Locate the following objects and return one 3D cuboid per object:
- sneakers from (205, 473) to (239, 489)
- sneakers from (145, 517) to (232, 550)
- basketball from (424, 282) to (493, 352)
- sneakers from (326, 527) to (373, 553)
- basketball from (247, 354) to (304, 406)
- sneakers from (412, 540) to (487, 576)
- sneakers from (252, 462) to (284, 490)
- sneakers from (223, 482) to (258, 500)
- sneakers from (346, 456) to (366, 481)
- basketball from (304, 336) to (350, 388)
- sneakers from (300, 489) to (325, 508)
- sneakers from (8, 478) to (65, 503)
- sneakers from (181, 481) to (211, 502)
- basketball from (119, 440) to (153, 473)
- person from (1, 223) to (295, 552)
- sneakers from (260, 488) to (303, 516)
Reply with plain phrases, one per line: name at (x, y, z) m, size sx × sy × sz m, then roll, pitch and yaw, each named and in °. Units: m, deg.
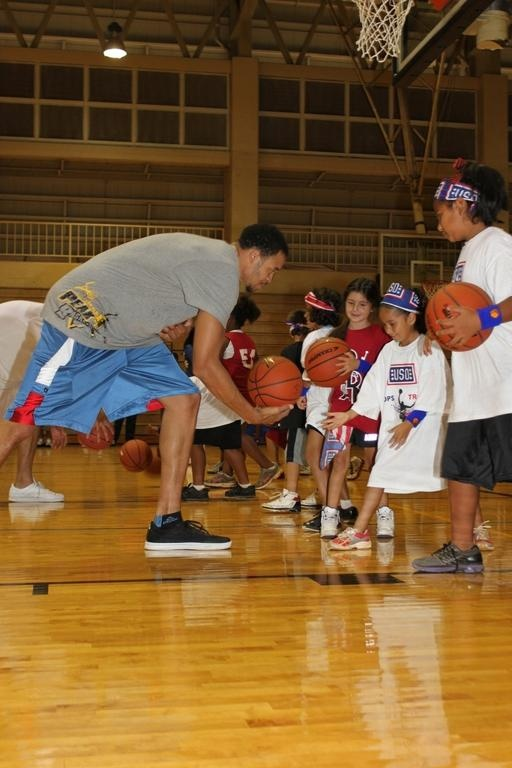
sneakers at (-0.257, 0.734, 4.858) m, size 0.235 × 0.100 × 0.092 m, roll 1°, pitch 2°, yaw -11°
sneakers at (-0.264, 0.560, 2.448) m, size 0.372 × 0.142 × 0.116 m, roll 2°, pitch -4°, yaw -15°
basketball at (0.644, -0.222, 2.089) m, size 0.197 × 0.236 × 0.255 m, roll 1°, pitch -4°, yaw 9°
sneakers at (0.374, 0.620, 2.554) m, size 0.192 × 0.081 × 0.066 m, roll 2°, pitch -6°, yaw -20°
basketball at (0.060, -0.002, 2.762) m, size 0.230 × 0.246 × 0.217 m, roll 13°, pitch 0°, yaw -5°
sneakers at (0.647, 0.596, 2.223) m, size 0.254 × 0.103 × 0.094 m, roll 1°, pitch -3°, yaw -2°
sneakers at (0.082, 0.690, 4.724) m, size 0.123 × 0.094 × 0.262 m, roll 33°, pitch -56°, yaw -29°
sneakers at (-0.101, 0.702, 4.235) m, size 0.211 × 0.080 × 0.081 m, roll 0°, pitch 1°, yaw 9°
sneakers at (0.843, 0.697, 5.440) m, size 0.137 × 0.154 × 0.387 m, roll -1°, pitch 1°, yaw 11°
basketball at (0.295, -0.091, 2.992) m, size 0.227 × 0.242 × 0.215 m, roll 11°, pitch 1°, yaw -15°
sneakers at (0.332, 0.704, 3.926) m, size 0.136 × 0.077 × 0.054 m, roll 1°, pitch 1°, yaw -10°
sneakers at (-1.257, 0.612, 3.724) m, size 0.350 × 0.130 × 0.121 m, roll 1°, pitch -2°, yaw -13°
sneakers at (-0.378, 0.686, 4.031) m, size 0.197 × 0.073 × 0.080 m, roll 2°, pitch -2°, yaw -14°
basketball at (-0.812, 0.471, 4.404) m, size 0.229 × 0.215 × 0.220 m, roll 4°, pitch 24°, yaw -14°
person at (-0.461, 0.043, 2.328) m, size 0.919 × 1.124 × 0.435 m, roll 0°, pitch -4°, yaw 18°
sneakers at (0.157, 0.657, 3.656) m, size 0.276 × 0.150 × 0.090 m, roll 2°, pitch -2°, yaw -9°
